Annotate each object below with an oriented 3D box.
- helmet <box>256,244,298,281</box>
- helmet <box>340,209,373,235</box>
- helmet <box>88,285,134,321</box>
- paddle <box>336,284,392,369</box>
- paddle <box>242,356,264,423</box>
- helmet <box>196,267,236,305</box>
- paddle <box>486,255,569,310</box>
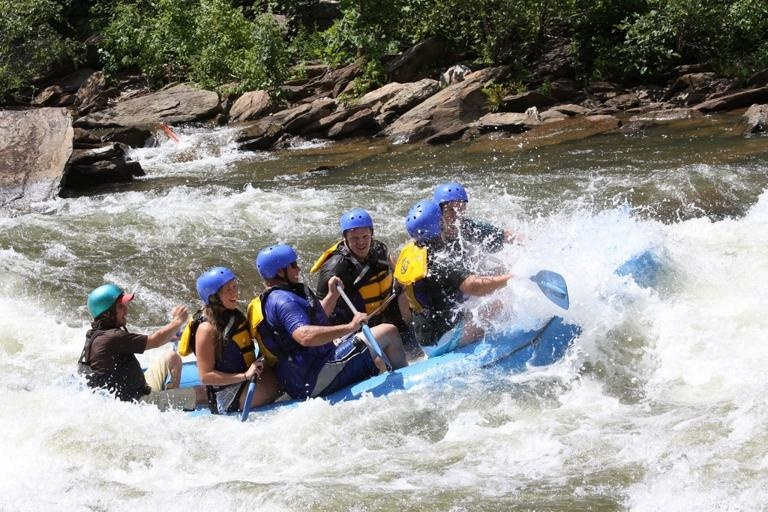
[{"bbox_3d":[-1.396,0.047,11.470,0.541,0.359,0.386,-7,7,-3],"label":"helmet"},{"bbox_3d":[-0.403,-0.485,12.048,0.317,0.296,0.392,-3,-36,-11],"label":"helmet"},{"bbox_3d":[-3.597,0.574,11.578,0.594,0.287,0.403,-26,12,-9],"label":"helmet"},{"bbox_3d":[-0.309,0.927,11.705,0.185,1.294,0.147,-31,-18,-20],"label":"paddle"},{"bbox_3d":[-1.714,1.776,11.307,0.148,0.614,0.086,23,-23,0],"label":"paddle"},{"bbox_3d":[-2.136,0.329,11.368,0.528,0.382,0.395,-24,3,0],"label":"helmet"},{"bbox_3d":[1.733,0.317,11.519,1.271,0.432,0.267,13,9,30],"label":"paddle"}]
